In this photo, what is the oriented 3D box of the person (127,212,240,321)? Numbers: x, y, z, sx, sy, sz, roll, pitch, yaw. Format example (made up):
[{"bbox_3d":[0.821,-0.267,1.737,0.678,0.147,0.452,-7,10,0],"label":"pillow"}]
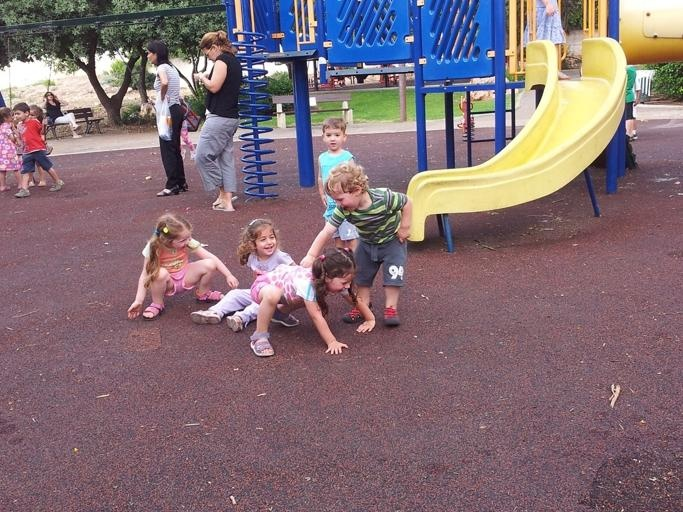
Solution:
[{"bbox_3d":[-1.455,0.125,5.654,0.739,0.634,0.434,-23,41,-37],"label":"person"}]

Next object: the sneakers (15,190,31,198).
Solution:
[{"bbox_3d":[-5.443,-1.056,10.380,0.220,0.116,0.258,-12,22,-16],"label":"sneakers"}]

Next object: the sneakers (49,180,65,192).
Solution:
[{"bbox_3d":[-5.091,-1.253,10.983,0.125,0.151,0.365,-10,21,7],"label":"sneakers"}]

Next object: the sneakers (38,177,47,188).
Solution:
[{"bbox_3d":[-5.574,-1.353,11.353,0.143,0.115,0.273,-2,21,-4],"label":"sneakers"}]

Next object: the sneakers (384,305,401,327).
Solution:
[{"bbox_3d":[0.399,0.478,4.824,0.137,0.139,0.303,-1,-2,0],"label":"sneakers"}]

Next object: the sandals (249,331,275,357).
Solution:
[{"bbox_3d":[-0.576,0.656,4.511,0.098,0.117,0.249,-1,4,-16],"label":"sandals"}]

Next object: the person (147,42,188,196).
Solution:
[{"bbox_3d":[-2.657,-2.031,9.329,0.555,2.326,1.078,-10,20,-14],"label":"person"}]

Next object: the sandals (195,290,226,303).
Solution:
[{"bbox_3d":[-1.181,0.358,5.426,0.185,0.088,0.110,-8,16,5],"label":"sandals"}]

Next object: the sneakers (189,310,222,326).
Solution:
[{"bbox_3d":[-1.104,0.502,4.982,0.236,0.109,0.127,2,44,1],"label":"sneakers"}]

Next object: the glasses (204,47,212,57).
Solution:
[{"bbox_3d":[-1.781,-2.683,8.093,0.073,0.123,0.244,-14,23,-23],"label":"glasses"}]

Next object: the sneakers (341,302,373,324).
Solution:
[{"bbox_3d":[0.117,0.492,5.004,0.095,0.135,0.297,-2,-2,23],"label":"sneakers"}]

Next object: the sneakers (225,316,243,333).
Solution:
[{"bbox_3d":[-0.851,0.534,4.856,0.071,0.092,0.148,-10,22,-41],"label":"sneakers"}]
